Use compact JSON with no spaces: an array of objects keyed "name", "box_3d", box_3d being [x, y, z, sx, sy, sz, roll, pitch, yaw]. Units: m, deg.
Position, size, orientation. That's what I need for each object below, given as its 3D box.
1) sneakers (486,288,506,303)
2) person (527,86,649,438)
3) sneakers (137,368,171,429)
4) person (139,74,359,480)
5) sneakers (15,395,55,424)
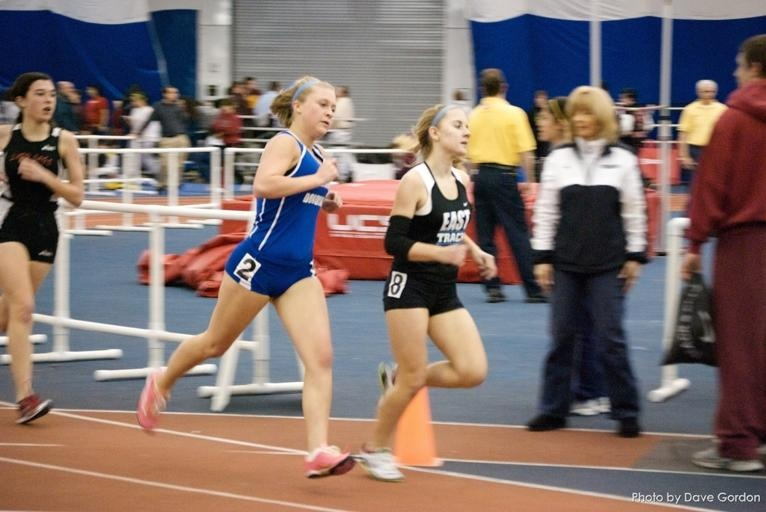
[{"name":"sneakers","box_3d":[1.397,0.499,11.187,0.267,0.148,0.213,-1,-4,10]},{"name":"person","box_3d":[1.537,0.050,6.666,0.876,2.559,0.736,4,15,9]},{"name":"sneakers","box_3d":[-1.599,0.991,6.255,0.250,0.396,0.177,7,-2,30]},{"name":"person","box_3d":[-0.673,0.134,5.931,1.651,2.604,1.029,9,17,31]},{"name":"sneakers","box_3d":[-2.630,1.147,6.724,0.231,0.226,0.196,-7,15,-31]}]
